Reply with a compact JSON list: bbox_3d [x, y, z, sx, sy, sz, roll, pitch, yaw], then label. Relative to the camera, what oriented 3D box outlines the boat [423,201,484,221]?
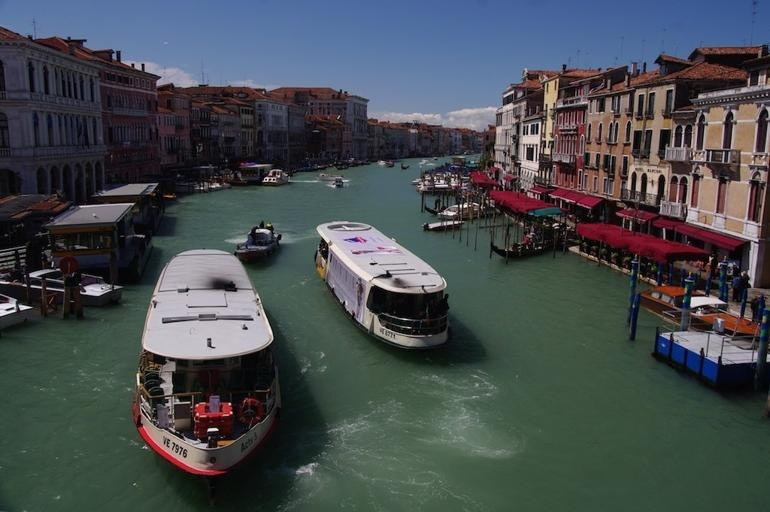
[{"bbox_3d":[8.447,-5.317,72.862,2.511,1.724,8.997,22,28,39],"label":"boat"}]

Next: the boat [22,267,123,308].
[{"bbox_3d":[-18.767,2.068,36.709,4.498,2.096,3.183,-1,15,12],"label":"boat"}]

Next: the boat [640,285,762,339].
[{"bbox_3d":[17.152,3.523,33.416,2.335,1.821,7.780,-5,7,-2],"label":"boat"}]

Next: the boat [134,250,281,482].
[{"bbox_3d":[-7.860,4.207,26.027,3.887,3.471,12.016,2,27,-17],"label":"boat"}]

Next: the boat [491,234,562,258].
[{"bbox_3d":[12.454,-0.747,52.255,6.842,2.016,1.691,-5,10,-26],"label":"boat"}]

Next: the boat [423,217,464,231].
[{"bbox_3d":[6.524,-2.994,65.598,4.296,1.104,1.889,-6,15,-31],"label":"boat"}]

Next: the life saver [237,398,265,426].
[{"bbox_3d":[-5.057,5.976,22.913,0.773,1.041,0.409,4,-2,-9],"label":"life saver"}]
